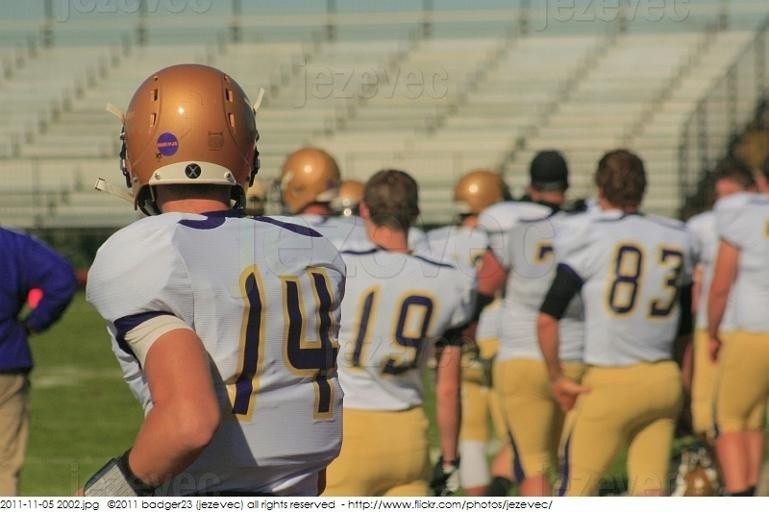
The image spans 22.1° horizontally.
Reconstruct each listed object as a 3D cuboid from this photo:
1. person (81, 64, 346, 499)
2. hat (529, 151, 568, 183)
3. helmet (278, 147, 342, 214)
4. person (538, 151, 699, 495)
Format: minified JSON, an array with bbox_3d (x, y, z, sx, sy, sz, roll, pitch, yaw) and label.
[{"bbox_3d":[-0.799,0.124,9.256,1.197,2.067,0.709,-2,8,-2],"label":"person"},{"bbox_3d":[0.880,-0.502,10.622,0.198,0.195,0.172,-1,8,3],"label":"hat"},{"bbox_3d":[-0.449,-0.413,10.421,0.390,0.358,0.307,-5,-9,14],"label":"helmet"},{"bbox_3d":[1.264,0.335,10.827,0.867,1.919,0.393,-1,8,6],"label":"person"}]
